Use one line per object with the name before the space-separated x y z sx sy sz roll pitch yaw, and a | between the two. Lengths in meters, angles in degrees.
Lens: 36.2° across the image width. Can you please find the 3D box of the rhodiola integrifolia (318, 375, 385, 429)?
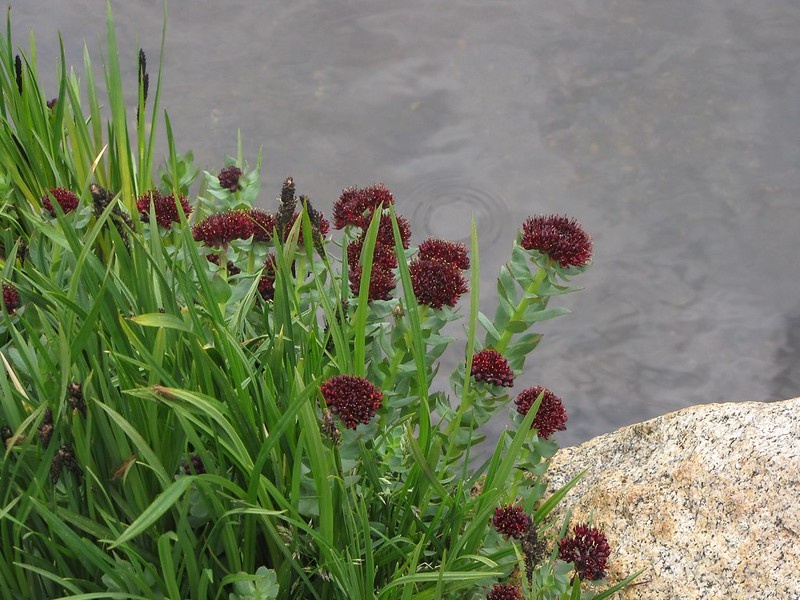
rhodiola integrifolia | -0.126 0.230 3.181 0.133 0.118 0.137 20 7 -5

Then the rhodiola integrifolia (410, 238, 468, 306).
rhodiola integrifolia | 0.107 -0.083 3.511 0.151 0.109 0.187 22 33 -16

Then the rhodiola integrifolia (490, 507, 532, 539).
rhodiola integrifolia | 0.303 0.598 3.354 0.085 0.063 0.084 -30 56 -34

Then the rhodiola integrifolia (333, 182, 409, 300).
rhodiola integrifolia | -0.099 -0.168 3.613 0.183 0.334 0.237 -1 -1 43

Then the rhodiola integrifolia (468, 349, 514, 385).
rhodiola integrifolia | 0.254 0.193 3.438 0.099 0.086 0.098 8 11 -42

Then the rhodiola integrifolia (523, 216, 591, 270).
rhodiola integrifolia | 0.457 -0.179 3.551 0.217 0.104 0.154 17 33 7

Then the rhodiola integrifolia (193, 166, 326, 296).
rhodiola integrifolia | -0.438 -0.200 3.731 0.289 0.335 0.336 22 58 3
